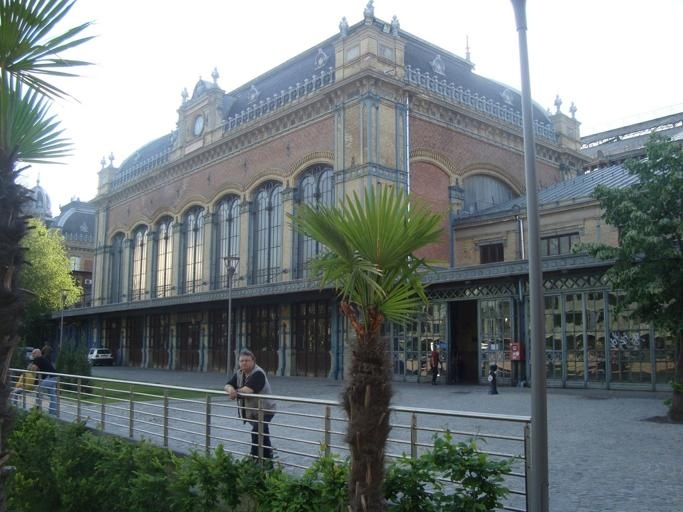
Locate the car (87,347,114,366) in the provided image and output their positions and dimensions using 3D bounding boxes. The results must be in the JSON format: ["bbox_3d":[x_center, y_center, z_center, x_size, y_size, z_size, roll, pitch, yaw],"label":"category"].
[{"bbox_3d":[-17.570,7.386,47.968,1.415,1.446,2.467,-3,-13,7],"label":"car"}]

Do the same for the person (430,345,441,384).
[{"bbox_3d":[3.678,4.215,25.784,0.383,1.673,1.190,-3,-12,8],"label":"person"}]

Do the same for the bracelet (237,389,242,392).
[{"bbox_3d":[-1.599,2.117,10.314,0.085,0.030,0.084,6,-7,-44],"label":"bracelet"}]
